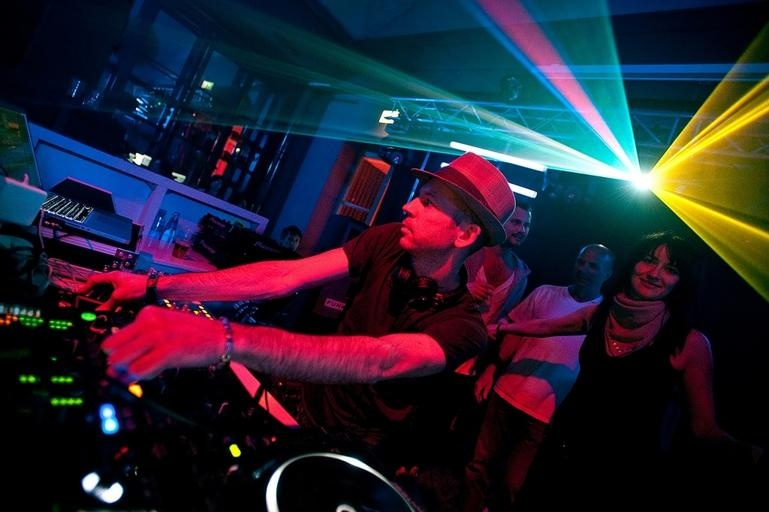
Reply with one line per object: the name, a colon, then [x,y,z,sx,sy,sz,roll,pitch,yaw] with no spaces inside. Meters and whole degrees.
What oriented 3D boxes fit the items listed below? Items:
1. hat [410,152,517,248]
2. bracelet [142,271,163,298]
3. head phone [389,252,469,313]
hat: [0.624,-0.355,3.725,0.657,0.253,0.557,39,-3,-16]
bracelet: [-1.509,0.193,3.454,0.102,0.125,0.168,14,7,-29]
head phone: [0.271,0.182,3.667,0.381,0.159,0.346,9,-16,17]
